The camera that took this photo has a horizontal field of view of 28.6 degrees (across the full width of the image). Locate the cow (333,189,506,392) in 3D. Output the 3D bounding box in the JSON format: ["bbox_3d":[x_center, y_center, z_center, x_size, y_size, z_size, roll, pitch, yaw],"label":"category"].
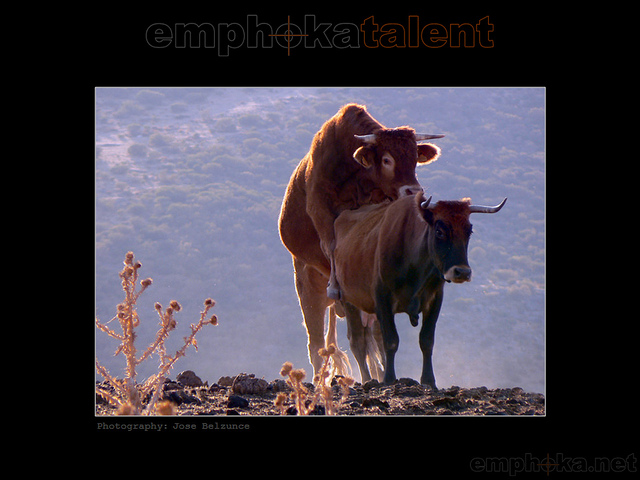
[{"bbox_3d":[1.103,0.746,17.494,1.104,2.843,3.800,-1,-3,-21],"label":"cow"}]

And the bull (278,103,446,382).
[{"bbox_3d":[0.509,-0.412,19.507,2.171,4.801,2.185,0,5,-6],"label":"bull"}]
